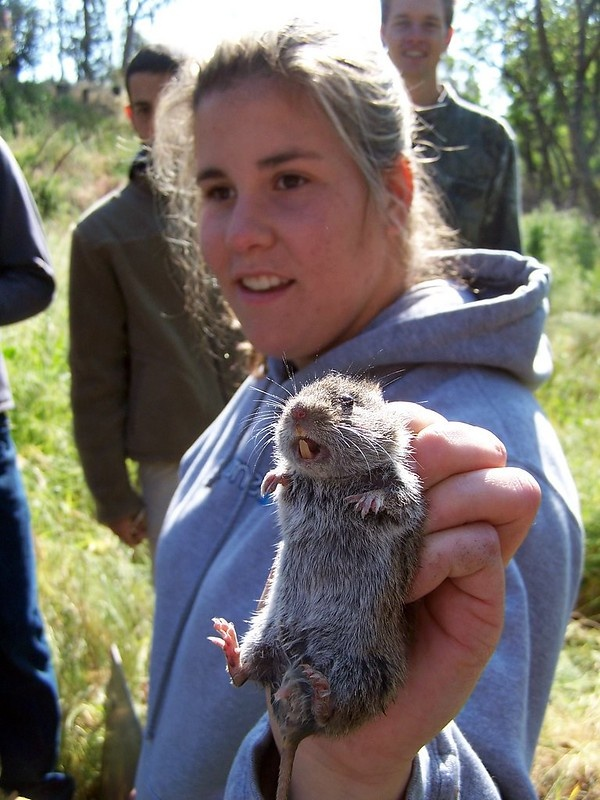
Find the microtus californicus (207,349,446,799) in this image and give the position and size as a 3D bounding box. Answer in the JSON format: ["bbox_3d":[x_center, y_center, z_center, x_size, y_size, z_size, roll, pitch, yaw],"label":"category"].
[{"bbox_3d":[0.001,0.325,1.460,0.305,0.862,0.362,13,19,20],"label":"microtus californicus"}]
